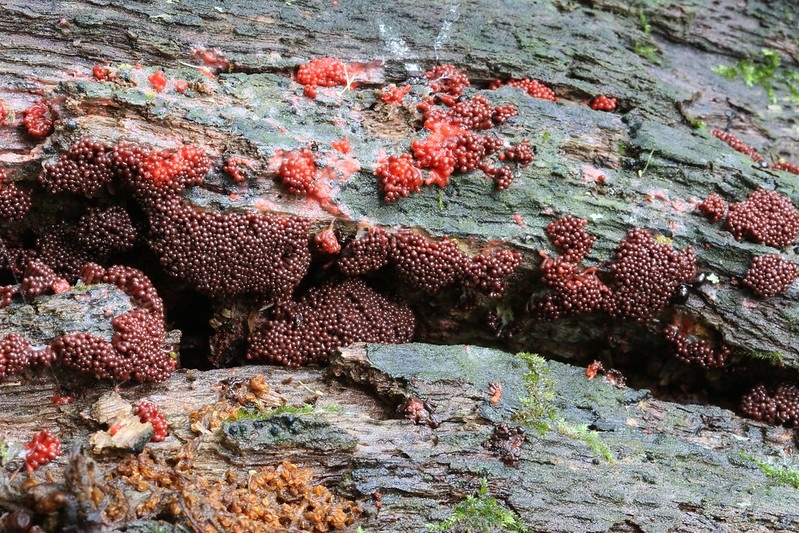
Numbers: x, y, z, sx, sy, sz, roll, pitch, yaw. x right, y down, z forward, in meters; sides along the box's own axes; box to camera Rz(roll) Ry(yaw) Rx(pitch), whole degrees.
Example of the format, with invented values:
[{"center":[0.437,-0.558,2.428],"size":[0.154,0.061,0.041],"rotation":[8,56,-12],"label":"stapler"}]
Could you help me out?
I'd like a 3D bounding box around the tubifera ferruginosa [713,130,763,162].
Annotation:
[{"center":[5.281,-1.861,15.342],"size":[0.664,0.191,0.686],"rotation":[24,8,-24],"label":"tubifera ferruginosa"}]
